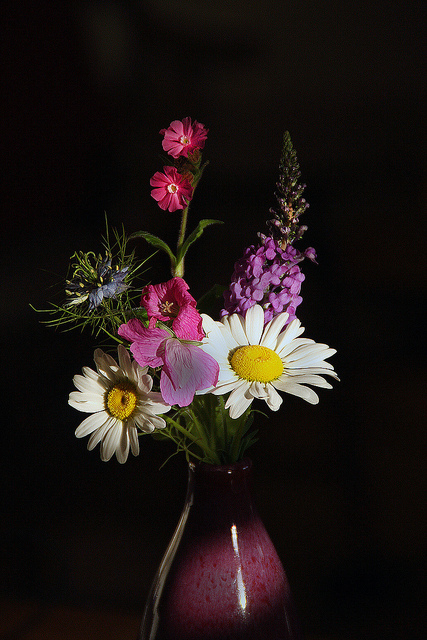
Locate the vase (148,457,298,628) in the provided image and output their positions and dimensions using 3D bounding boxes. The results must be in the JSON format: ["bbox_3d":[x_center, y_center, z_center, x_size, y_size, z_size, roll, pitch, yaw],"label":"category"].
[{"bbox_3d":[0.009,0.239,0.656,0.155,0.170,0.161,0,-1,7],"label":"vase"}]
